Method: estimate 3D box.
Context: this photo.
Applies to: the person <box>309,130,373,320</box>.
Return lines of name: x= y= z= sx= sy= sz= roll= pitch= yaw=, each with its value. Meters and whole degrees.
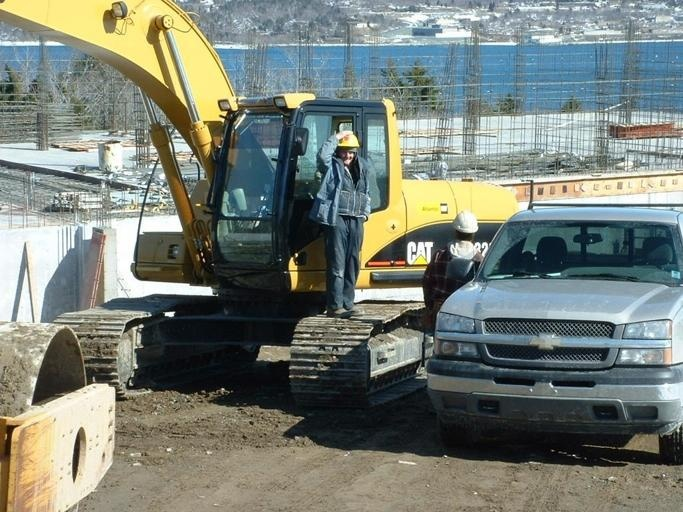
person: x=-0.002 y=-0.321 z=9.117 sx=0.323 sy=1.932 sz=0.751 roll=5 pitch=8 yaw=39

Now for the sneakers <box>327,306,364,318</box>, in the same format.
sneakers: x=0.068 y=0.595 z=9.257 sx=0.410 sy=0.170 sz=0.134 roll=-4 pitch=-1 yaw=16

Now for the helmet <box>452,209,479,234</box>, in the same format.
helmet: x=1.299 y=-0.355 z=9.186 sx=0.221 sy=0.135 sz=0.260 roll=5 pitch=8 yaw=1
